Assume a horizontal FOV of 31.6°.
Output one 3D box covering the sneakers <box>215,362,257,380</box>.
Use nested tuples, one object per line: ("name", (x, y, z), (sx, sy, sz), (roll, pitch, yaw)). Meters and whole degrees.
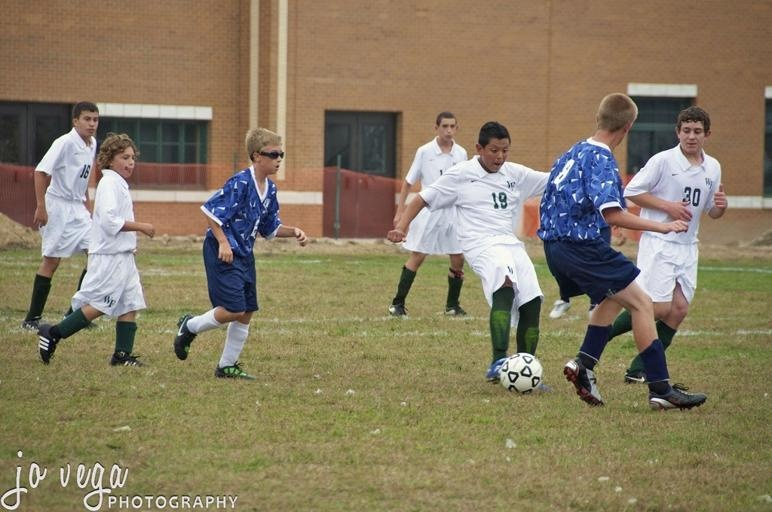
("sneakers", (-2.067, 1.573, 19.053), (0.619, 0.276, 0.219), (1, 0, -5))

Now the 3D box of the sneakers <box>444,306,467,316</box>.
("sneakers", (1.099, 0.838, 21.846), (0.290, 0.136, 0.153), (2, 5, 11))

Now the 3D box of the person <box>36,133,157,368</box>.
("person", (-4.006, -0.085, 19.184), (1.475, 3.095, 1.165), (-11, 17, -40))

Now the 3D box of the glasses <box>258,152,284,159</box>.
("glasses", (-1.592, -1.407, 18.776), (0.320, 0.093, 0.076), (-1, 14, -7))

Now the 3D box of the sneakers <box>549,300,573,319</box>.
("sneakers", (2.669, 0.791, 20.826), (0.177, 0.188, 0.469), (-16, 18, 41))

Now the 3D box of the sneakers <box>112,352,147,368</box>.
("sneakers", (-3.625, 1.428, 19.280), (0.459, 0.222, 0.192), (2, -1, -4))
